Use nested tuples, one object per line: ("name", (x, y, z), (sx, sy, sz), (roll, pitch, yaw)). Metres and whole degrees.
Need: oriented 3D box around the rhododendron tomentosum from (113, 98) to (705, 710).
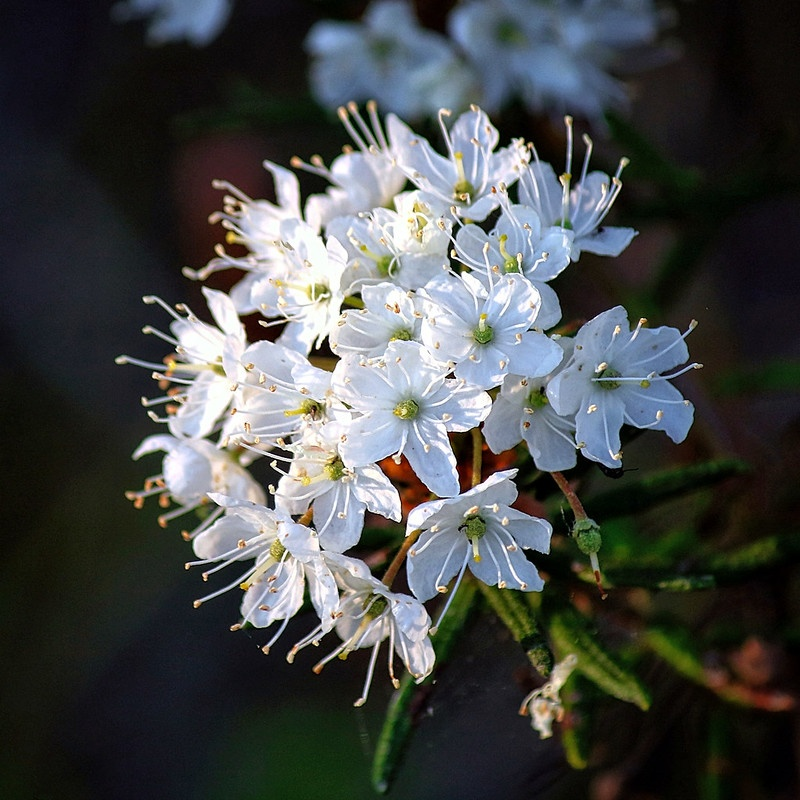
("rhododendron tomentosum", (-0.017, 0.085, 1.698), (0.869, 0.880, 0.788), (16, 44, 14))
